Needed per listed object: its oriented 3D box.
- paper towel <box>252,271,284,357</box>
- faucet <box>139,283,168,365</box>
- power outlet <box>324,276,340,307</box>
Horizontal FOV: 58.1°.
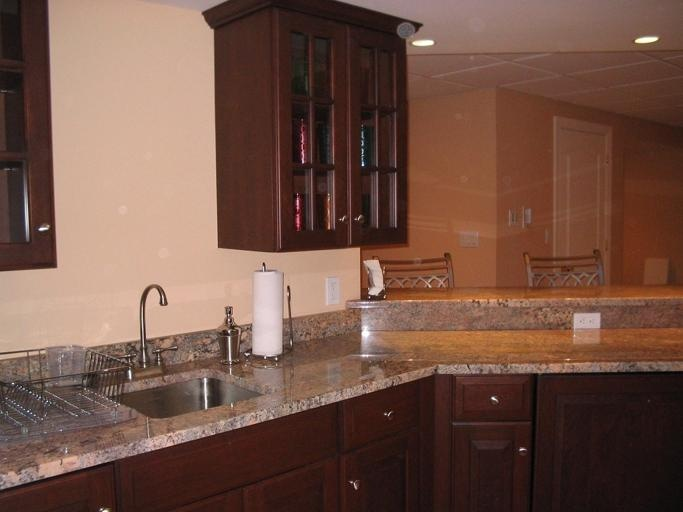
[{"bbox_3d":[-0.295,0.236,2.441,0.127,0.346,0.092,-3,-2,-9],"label":"paper towel"},{"bbox_3d":[-0.698,0.258,2.271,0.106,0.304,0.240,-2,-2,-17],"label":"faucet"},{"bbox_3d":[-0.047,0.163,2.826,0.015,0.181,0.138,1,4,38],"label":"power outlet"}]
